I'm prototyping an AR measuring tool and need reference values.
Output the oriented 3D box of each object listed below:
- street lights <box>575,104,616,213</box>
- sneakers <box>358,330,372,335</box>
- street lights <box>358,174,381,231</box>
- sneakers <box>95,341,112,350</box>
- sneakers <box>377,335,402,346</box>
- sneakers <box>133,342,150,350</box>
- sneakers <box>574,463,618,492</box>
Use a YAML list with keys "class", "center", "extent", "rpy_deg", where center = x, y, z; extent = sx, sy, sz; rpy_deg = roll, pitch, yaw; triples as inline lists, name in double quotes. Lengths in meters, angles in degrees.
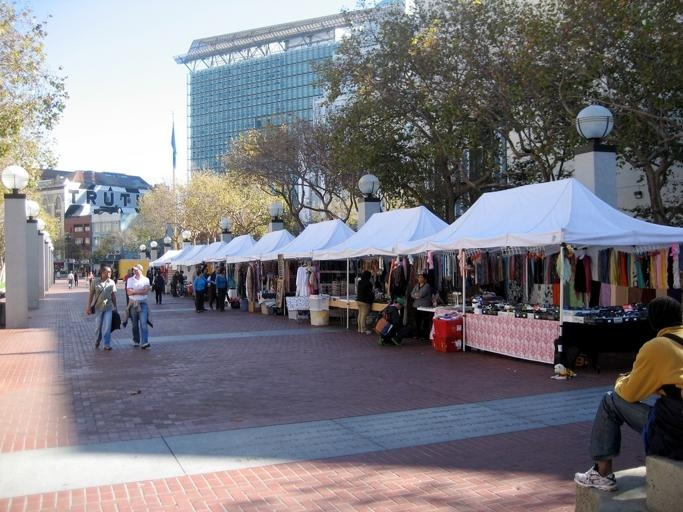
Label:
- class: "street lights"
  center: [5.936, -2.368, 14.431]
  extent: [0.877, 2.436, 0.753]
  rpy_deg: [0, 1, 22]
- class: "sneakers"
  center: [0.696, 2.211, 17.612]
  extent: [0.123, 0.181, 0.394]
  rpy_deg: [-5, -13, 28]
- class: "street lights"
  center: [1.026, -1.973, 23.008]
  extent: [0.792, 2.219, 0.798]
  rpy_deg: [0, 2, 35]
- class: "sneakers"
  center: [-5.686, 2.178, 14.872]
  extent: [0.582, 0.283, 0.188]
  rpy_deg: [-5, -5, 37]
- class: "sneakers"
  center: [1.181, 2.124, 15.231]
  extent: [0.599, 0.312, 0.219]
  rpy_deg: [-10, 2, -5]
- class: "sneakers"
  center: [-4.876, 2.215, 15.158]
  extent: [0.189, 0.275, 0.563]
  rpy_deg: [6, -9, -44]
- class: "sneakers"
  center: [2.321, 2.048, 5.629]
  extent: [0.370, 0.216, 0.166]
  rpy_deg: [0, -5, 34]
